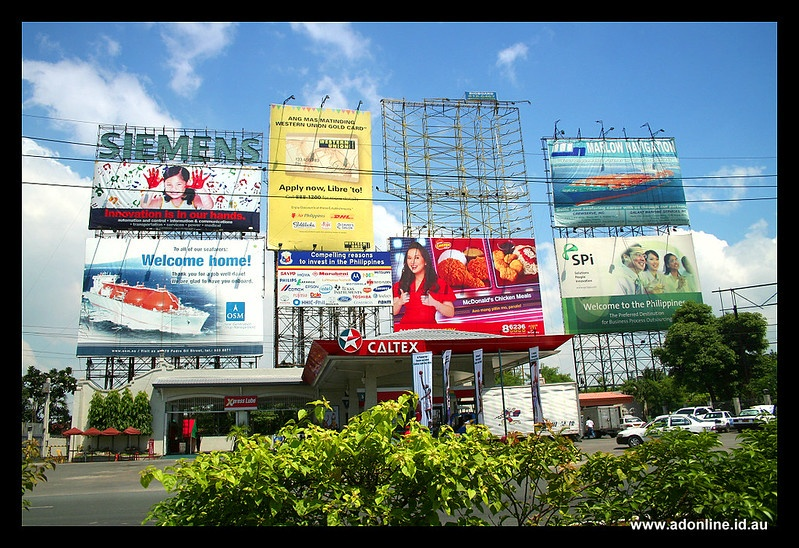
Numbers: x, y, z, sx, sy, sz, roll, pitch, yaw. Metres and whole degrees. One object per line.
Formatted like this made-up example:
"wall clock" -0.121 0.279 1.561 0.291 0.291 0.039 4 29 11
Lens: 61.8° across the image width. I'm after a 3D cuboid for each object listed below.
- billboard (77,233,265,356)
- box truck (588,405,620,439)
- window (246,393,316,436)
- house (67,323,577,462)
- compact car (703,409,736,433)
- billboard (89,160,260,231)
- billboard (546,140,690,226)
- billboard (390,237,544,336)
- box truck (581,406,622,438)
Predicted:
"billboard" -12.845 1.422 36.561 7.711 5.018 0.091 1 -18 -8
"box truck" 10.933 7.814 35.659 1.214 1.347 2.282 1 -11 2
"window" -6.187 7.232 34.272 4.344 2.424 0.064 -8 -29 42
"house" -5.382 5.655 31.325 23.823 5.378 10.049 -11 -16 35
"compact car" 15.021 6.839 31.341 0.983 0.710 2.134 -7 -11 41
"billboard" -13.437 -4.383 38.540 7.345 3.250 0.127 -1 -7 -11
"billboard" 13.489 -5.711 41.689 9.191 5.977 0.136 0 1 -4
"billboard" 3.355 0.590 40.111 8.766 5.954 0.063 -2 -13 22
"box truck" 10.867 8.045 36.787 1.423 1.566 2.646 1 -13 1
